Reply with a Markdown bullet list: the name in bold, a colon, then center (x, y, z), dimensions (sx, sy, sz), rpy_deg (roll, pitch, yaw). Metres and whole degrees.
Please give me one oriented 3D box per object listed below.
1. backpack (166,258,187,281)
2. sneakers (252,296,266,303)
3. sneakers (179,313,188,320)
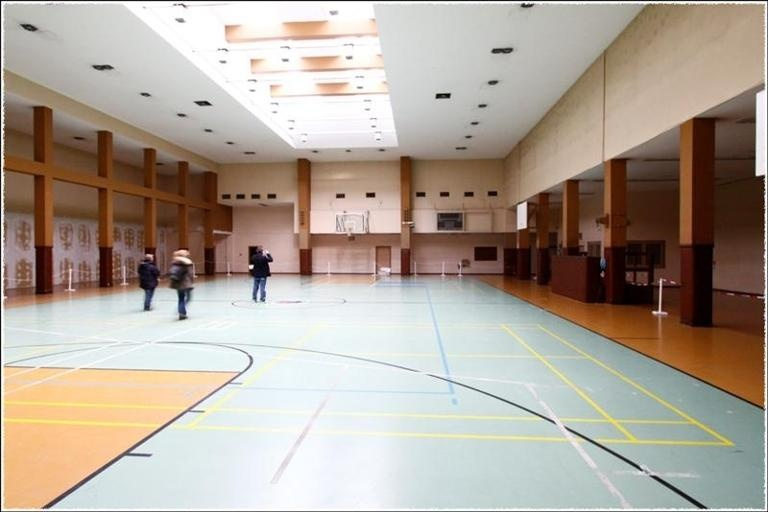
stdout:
- **backpack**: center (-5.296, 0.355, 13.346), dimensions (0.435, 0.573, 0.246), rpy_deg (-1, 6, -8)
- **sneakers**: center (-3.968, 1.393, 16.617), dimensions (0.174, 0.215, 0.513), rpy_deg (2, 1, -6)
- **sneakers**: center (-5.229, 1.576, 13.485), dimensions (0.278, 0.184, 0.091), rpy_deg (-4, 9, -22)
